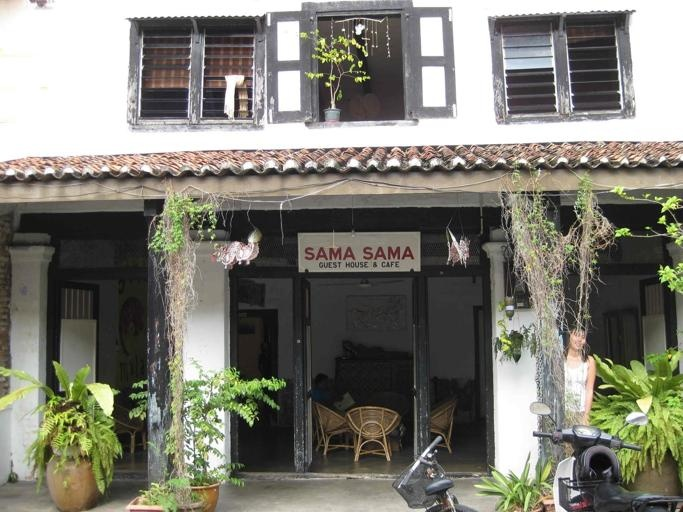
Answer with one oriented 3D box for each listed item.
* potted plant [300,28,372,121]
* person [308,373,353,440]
[{"bbox_3d":[-0.112,-2.941,13.042,1.146,1.348,0.707,9,-32,-14],"label":"potted plant"},{"bbox_3d":[-0.241,2.527,13.395,0.849,1.257,1.061,-2,-5,-4],"label":"person"}]
